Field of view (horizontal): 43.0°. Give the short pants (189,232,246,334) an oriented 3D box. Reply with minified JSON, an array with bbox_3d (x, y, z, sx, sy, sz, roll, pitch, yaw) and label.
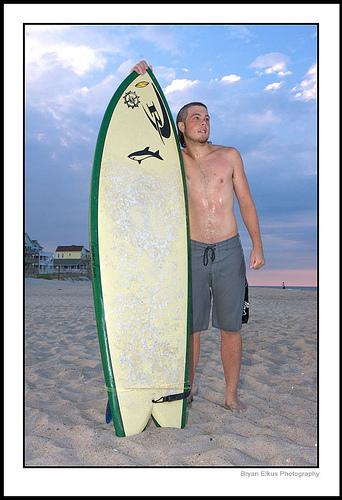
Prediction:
[{"bbox_3d":[0.281,0.206,2.662,0.348,0.592,0.249,-3,4,3],"label":"short pants"}]

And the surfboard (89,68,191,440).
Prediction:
[{"bbox_3d":[-0.210,-0.092,2.484,0.491,2.084,0.339,3,-12,-27],"label":"surfboard"}]
